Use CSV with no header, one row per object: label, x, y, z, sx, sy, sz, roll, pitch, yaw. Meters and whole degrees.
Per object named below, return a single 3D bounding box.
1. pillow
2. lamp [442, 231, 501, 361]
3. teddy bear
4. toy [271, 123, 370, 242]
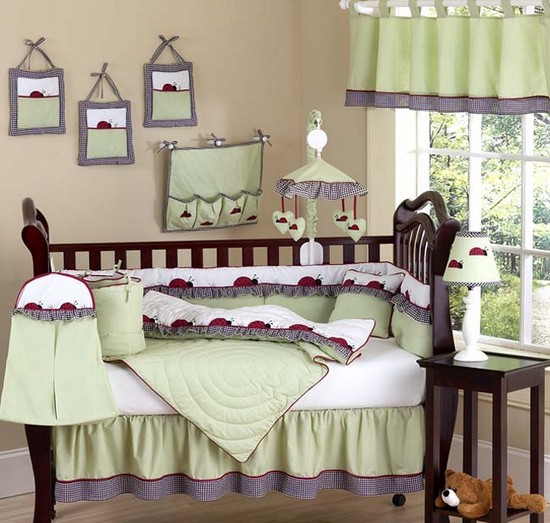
pillow,0.371,0.148,2.481,0.274,0.256,0.083,5,-22,41
lamp,0.628,0.107,1.988,0.165,0.404,0.201,-2,5,2
teddy bear,0.657,0.725,1.910,0.224,0.093,0.180,0,-4,0
toy,0.187,-0.325,2.747,0.493,0.591,0.501,0,2,-1
